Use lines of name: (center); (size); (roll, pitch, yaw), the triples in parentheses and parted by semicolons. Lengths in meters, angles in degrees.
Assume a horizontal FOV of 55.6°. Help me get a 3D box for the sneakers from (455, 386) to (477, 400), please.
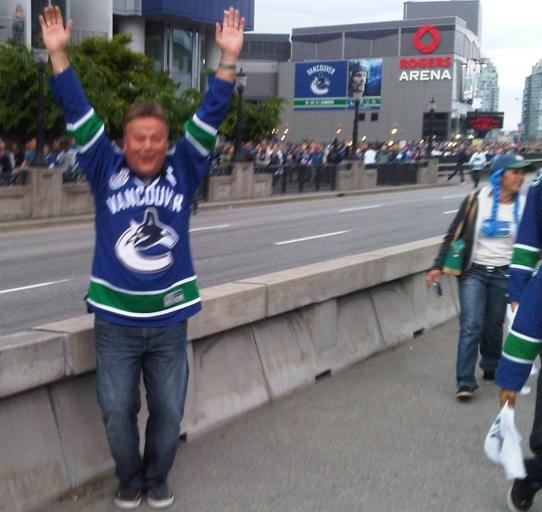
sneakers: (1.666, 1.172, 4.389); (0.074, 0.112, 0.240); (-2, -28, 7)

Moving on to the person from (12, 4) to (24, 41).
person: (-14.829, -13.619, 30.226); (0.696, 2.086, 0.886); (-1, 6, -31)

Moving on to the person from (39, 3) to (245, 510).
person: (-0.639, -0.021, 2.667); (0.980, 2.572, 0.525); (0, 5, -21)

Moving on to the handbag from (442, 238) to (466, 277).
handbag: (1.681, 0.010, 4.702); (0.203, 0.350, 0.140); (12, -11, 41)

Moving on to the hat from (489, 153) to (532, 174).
hat: (2.081, -0.793, 4.465); (0.239, 0.155, 0.175); (-11, -2, 41)
